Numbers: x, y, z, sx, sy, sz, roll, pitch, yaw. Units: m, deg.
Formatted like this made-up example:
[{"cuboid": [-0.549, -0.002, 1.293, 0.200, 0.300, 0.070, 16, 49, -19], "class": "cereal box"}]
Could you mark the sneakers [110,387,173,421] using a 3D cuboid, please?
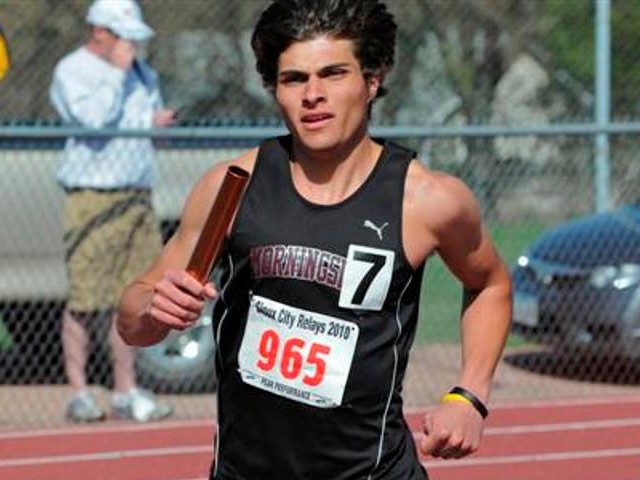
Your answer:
[{"cuboid": [-1.150, 1.066, 5.679, 0.386, 0.188, 0.146, 3, 1, -29], "class": "sneakers"}]
